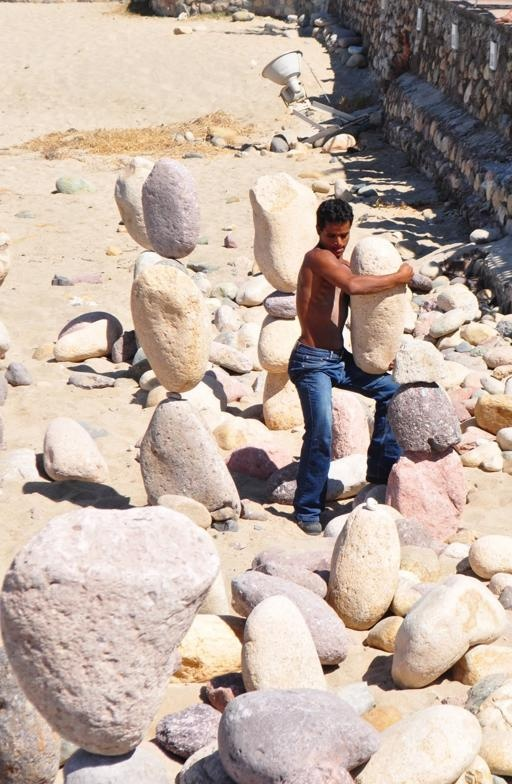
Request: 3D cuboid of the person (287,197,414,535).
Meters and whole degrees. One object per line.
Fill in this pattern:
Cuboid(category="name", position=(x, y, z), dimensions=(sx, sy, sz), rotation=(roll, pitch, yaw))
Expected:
Cuboid(category="person", position=(0.418, -0.100, 5.443), dimensions=(0.484, 1.484, 0.529), rotation=(-3, 27, -17))

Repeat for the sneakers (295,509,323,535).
Cuboid(category="sneakers", position=(0.233, 0.594, 5.548), dimensions=(0.060, 0.069, 0.165), rotation=(-3, 11, -25))
